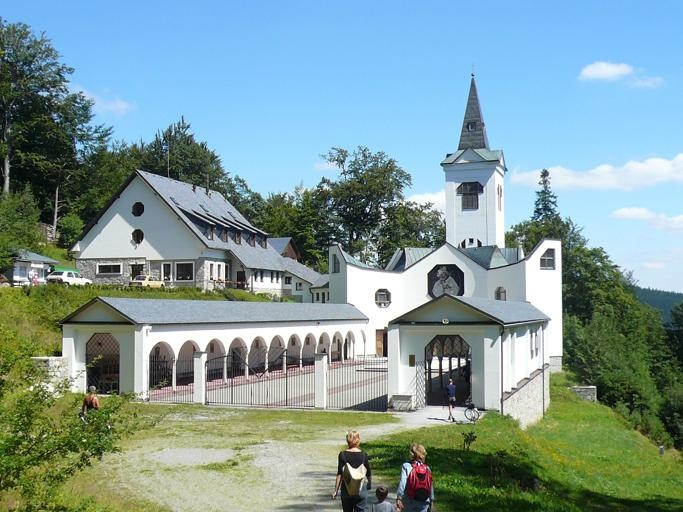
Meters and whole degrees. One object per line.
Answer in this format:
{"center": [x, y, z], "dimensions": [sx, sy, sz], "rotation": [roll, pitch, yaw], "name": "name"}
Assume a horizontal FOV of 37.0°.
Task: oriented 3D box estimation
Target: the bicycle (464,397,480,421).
{"center": [7.045, 8.294, 55.332], "dimensions": [0.486, 0.755, 1.213], "rotation": [-5, 1, -3], "name": "bicycle"}

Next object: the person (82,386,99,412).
{"center": [-12.199, 6.831, 49.339], "dimensions": [0.676, 1.401, 3.997], "rotation": [3, -10, -14], "name": "person"}

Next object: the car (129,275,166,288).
{"center": [-15.663, 2.012, 82.112], "dimensions": [1.419, 1.233, 2.540], "rotation": [-1, -13, 8], "name": "car"}
